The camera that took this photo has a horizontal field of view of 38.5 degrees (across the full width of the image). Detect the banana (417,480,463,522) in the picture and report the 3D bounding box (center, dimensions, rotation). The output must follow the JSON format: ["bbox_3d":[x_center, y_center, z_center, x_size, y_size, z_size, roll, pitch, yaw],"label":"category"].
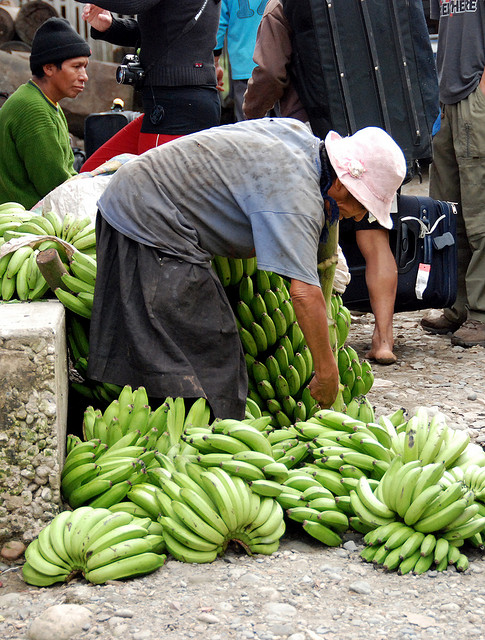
[{"bbox_3d":[0.549,0.510,1.937,0.029,0.128,0.045,50,7,33],"label":"banana"}]

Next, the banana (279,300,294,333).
[{"bbox_3d":[0.199,-0.018,3.017,0.054,0.144,0.040,-4,18,19],"label":"banana"}]

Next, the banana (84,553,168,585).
[{"bbox_3d":[-0.316,0.661,1.843,0.149,0.032,0.056,-13,24,-11],"label":"banana"}]

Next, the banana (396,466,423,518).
[{"bbox_3d":[0.453,0.476,1.975,0.047,0.164,0.060,20,-2,5],"label":"banana"}]

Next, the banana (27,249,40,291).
[{"bbox_3d":[-0.789,-0.188,2.662,0.047,0.164,0.055,1,-11,12],"label":"banana"}]

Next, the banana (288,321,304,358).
[{"bbox_3d":[0.235,0.085,3.027,0.048,0.165,0.058,2,17,8],"label":"banana"}]

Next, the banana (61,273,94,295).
[{"bbox_3d":[-0.631,-0.137,2.666,0.104,0.030,0.036,35,22,-24],"label":"banana"}]

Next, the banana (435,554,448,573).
[{"bbox_3d":[0.557,0.680,1.944,0.018,0.053,0.018,30,-24,11],"label":"banana"}]

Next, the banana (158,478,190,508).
[{"bbox_3d":[-0.206,0.498,2.065,0.124,0.035,0.043,44,-5,45],"label":"banana"}]

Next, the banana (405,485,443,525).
[{"bbox_3d":[0.533,0.503,2.009,0.080,0.057,0.219,-26,-14,15],"label":"banana"}]

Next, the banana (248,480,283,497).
[{"bbox_3d":[0.067,0.495,2.042,0.093,0.043,0.034,9,-37,-18],"label":"banana"}]

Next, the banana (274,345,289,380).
[{"bbox_3d":[0.175,0.182,2.957,0.043,0.140,0.051,-6,10,14],"label":"banana"}]

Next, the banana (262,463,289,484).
[{"bbox_3d":[0.105,0.465,2.085,0.030,0.059,0.073,35,-16,14],"label":"banana"}]

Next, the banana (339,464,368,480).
[{"bbox_3d":[0.356,0.489,2.251,0.097,0.028,0.033,23,12,-15],"label":"banana"}]

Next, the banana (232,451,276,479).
[{"bbox_3d":[0.039,0.437,2.118,0.183,0.049,0.063,17,41,-18],"label":"banana"}]

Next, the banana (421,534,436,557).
[{"bbox_3d":[0.516,0.626,1.930,0.027,0.025,0.080,18,23,10],"label":"banana"}]

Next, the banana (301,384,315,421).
[{"bbox_3d":[0.278,0.345,2.952,0.044,0.178,0.064,7,29,14],"label":"banana"}]

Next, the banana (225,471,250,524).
[{"bbox_3d":[-0.021,0.517,1.994,0.034,0.068,0.111,-13,57,-28],"label":"banana"}]

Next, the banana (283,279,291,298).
[{"bbox_3d":[0.216,-0.146,3.181,0.032,0.080,0.020,-24,-5,39],"label":"banana"}]

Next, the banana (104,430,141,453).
[{"bbox_3d":[-0.393,0.401,2.299,0.115,0.067,0.069,0,6,-8],"label":"banana"}]

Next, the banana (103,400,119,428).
[{"bbox_3d":[-0.449,0.320,2.394,0.036,0.110,0.037,34,26,10],"label":"banana"}]

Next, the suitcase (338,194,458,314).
[{"bbox_3d":[1.036,-0.468,4.817,0.833,0.749,0.560,4,-4,6],"label":"suitcase"}]

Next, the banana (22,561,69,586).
[{"bbox_3d":[-0.535,0.686,1.866,0.086,0.069,0.028,4,-3,-2],"label":"banana"}]

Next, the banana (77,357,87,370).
[{"bbox_3d":[-0.633,0.173,2.768,0.021,0.020,0.075,-1,29,-40],"label":"banana"}]

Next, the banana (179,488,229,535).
[{"bbox_3d":[-0.106,0.541,1.943,0.163,0.033,0.042,41,-19,14],"label":"banana"}]

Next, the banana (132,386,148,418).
[{"bbox_3d":[-0.342,0.277,2.335,0.035,0.109,0.039,7,-17,-24],"label":"banana"}]

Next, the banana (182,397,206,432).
[{"bbox_3d":[-0.156,0.320,2.414,0.041,0.132,0.047,36,-18,-14],"label":"banana"}]

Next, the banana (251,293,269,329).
[{"bbox_3d":[0.079,-0.041,3.004,0.049,0.164,0.058,-7,28,5],"label":"banana"}]

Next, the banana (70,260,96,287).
[{"bbox_3d":[-0.619,-0.181,2.719,0.135,0.039,0.048,31,35,17],"label":"banana"}]

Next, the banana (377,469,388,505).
[{"bbox_3d":[0.418,0.503,2.079,0.033,0.078,0.019,-2,-4,-11],"label":"banana"}]

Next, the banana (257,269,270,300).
[{"bbox_3d":[0.088,-0.157,3.024,0.038,0.134,0.049,-6,0,16],"label":"banana"}]

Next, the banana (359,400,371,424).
[{"bbox_3d":[0.477,0.362,2.703,0.032,0.034,0.102,-1,43,-2],"label":"banana"}]

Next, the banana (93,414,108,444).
[{"bbox_3d":[-0.478,0.372,2.348,0.036,0.111,0.040,-7,7,8],"label":"banana"}]

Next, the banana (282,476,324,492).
[{"bbox_3d":[0.189,0.526,2.232,0.155,0.041,0.054,4,9,3],"label":"banana"}]

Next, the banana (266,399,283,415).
[{"bbox_3d":[0.135,0.368,2.972,0.048,0.070,0.026,-23,13,18],"label":"banana"}]

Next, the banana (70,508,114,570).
[{"bbox_3d":[-0.422,0.586,1.900,0.101,0.123,0.037,8,-20,-31],"label":"banana"}]

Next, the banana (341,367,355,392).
[{"bbox_3d":[0.473,0.275,3.157,0.042,0.121,0.033,-6,25,5],"label":"banana"}]

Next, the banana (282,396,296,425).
[{"bbox_3d":[0.217,0.383,2.987,0.048,0.130,0.036,2,31,38],"label":"banana"}]

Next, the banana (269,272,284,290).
[{"bbox_3d":[0.145,-0.171,3.055,0.054,0.064,0.017,2,24,11],"label":"banana"}]

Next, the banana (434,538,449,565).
[{"bbox_3d":[0.551,0.641,1.931,0.032,0.026,0.077,31,39,4],"label":"banana"}]

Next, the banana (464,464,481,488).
[{"bbox_3d":[0.723,0.495,2.204,0.019,0.058,0.047,27,-17,-12],"label":"banana"}]

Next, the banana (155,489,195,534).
[{"bbox_3d":[-0.207,0.544,2.043,0.163,0.043,0.060,55,6,37],"label":"banana"}]

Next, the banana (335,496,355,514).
[{"bbox_3d":[0.318,0.563,2.141,0.031,0.084,0.023,-33,33,-8],"label":"banana"}]

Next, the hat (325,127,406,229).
[{"bbox_3d":[0.430,-0.506,2.427,0.285,0.354,0.161,0,6,-1],"label":"hat"}]

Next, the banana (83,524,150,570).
[{"bbox_3d":[-0.342,0.615,1.864,0.193,0.037,0.064,-16,-15,-41],"label":"banana"}]

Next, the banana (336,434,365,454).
[{"bbox_3d":[0.354,0.411,2.314,0.051,0.038,0.146,-9,-27,41],"label":"banana"}]

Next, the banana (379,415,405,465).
[{"bbox_3d":[0.525,0.411,2.403,0.061,0.172,0.037,-16,-18,-36],"label":"banana"}]

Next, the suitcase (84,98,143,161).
[{"bbox_3d":[-1.077,-1.538,5.930,0.454,0.602,0.385,6,18,21],"label":"suitcase"}]
